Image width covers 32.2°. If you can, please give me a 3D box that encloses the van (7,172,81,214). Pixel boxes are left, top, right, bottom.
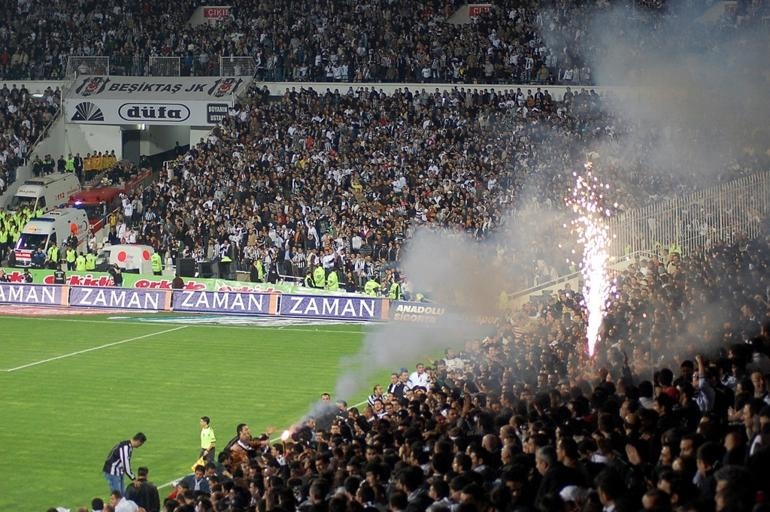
[{"bbox_3d":[-18.500,-3.361,71.434,1.513,1.867,3.934,0,13,18],"label":"van"}]

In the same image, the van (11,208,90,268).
[{"bbox_3d":[-17.265,-1.105,68.780,2.172,2.180,4.561,5,17,15],"label":"van"}]
